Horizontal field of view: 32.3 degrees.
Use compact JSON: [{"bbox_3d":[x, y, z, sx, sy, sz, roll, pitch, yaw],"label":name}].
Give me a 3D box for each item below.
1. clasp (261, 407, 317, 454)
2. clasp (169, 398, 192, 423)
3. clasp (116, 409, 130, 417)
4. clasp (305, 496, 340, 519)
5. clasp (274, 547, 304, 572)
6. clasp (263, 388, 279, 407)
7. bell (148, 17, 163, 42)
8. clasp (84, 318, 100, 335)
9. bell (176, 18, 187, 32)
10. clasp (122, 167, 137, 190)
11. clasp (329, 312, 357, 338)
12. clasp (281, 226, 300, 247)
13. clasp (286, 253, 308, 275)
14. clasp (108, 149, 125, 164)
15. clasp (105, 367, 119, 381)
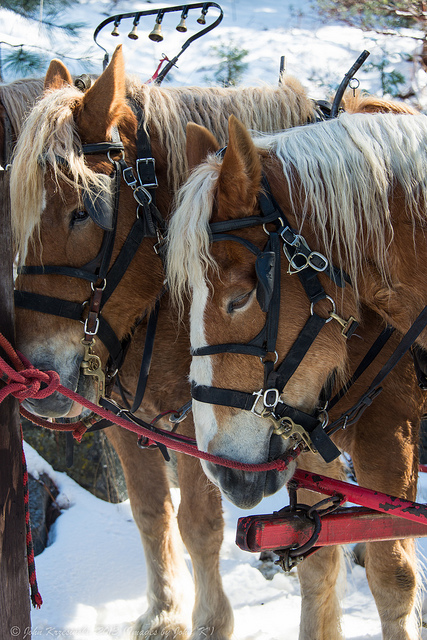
[{"bbox_3d":[0.187,0.272,1.849,0.189,0.056,0.034,33,-6,-31],"label":"clasp"},{"bbox_3d":[-0.100,0.284,2.295,0.033,0.119,0.018,42,30,8],"label":"clasp"},{"bbox_3d":[-0.282,0.284,2.277,0.033,0.030,0.007,-18,77,-19],"label":"clasp"},{"bbox_3d":[0.274,0.480,1.907,0.056,0.087,0.016,34,33,-47],"label":"clasp"},{"bbox_3d":[0.196,0.618,1.899,0.088,0.060,0.026,-18,76,-2],"label":"clasp"},{"bbox_3d":[0.142,0.188,1.813,0.039,0.040,0.013,8,6,-14],"label":"clasp"},{"bbox_3d":[-0.228,-1.177,2.996,0.072,0.069,0.099,6,65,5],"label":"bell"},{"bbox_3d":[-0.360,0.017,2.115,0.039,0.042,0.016,3,5,-6],"label":"clasp"},{"bbox_3d":[-0.130,-1.227,3.068,0.046,0.042,0.069,0,41,9],"label":"bell"},{"bbox_3d":[-0.246,-0.417,2.169,0.043,0.060,0.020,-20,12,-21],"label":"clasp"},{"bbox_3d":[0.324,0.012,1.849,0.066,0.034,0.020,35,-8,-28],"label":"clasp"},{"bbox_3d":[0.186,-0.206,1.817,0.049,0.034,0.017,43,-3,7],"label":"clasp"},{"bbox_3d":[0.209,-0.140,1.819,0.042,0.050,0.029,13,38,2],"label":"clasp"},{"bbox_3d":[-0.284,-0.475,2.151,0.046,0.008,0.037,-3,79,-24],"label":"clasp"},{"bbox_3d":[-0.309,0.165,2.244,0.034,0.037,0.018,4,-1,11],"label":"clasp"}]
